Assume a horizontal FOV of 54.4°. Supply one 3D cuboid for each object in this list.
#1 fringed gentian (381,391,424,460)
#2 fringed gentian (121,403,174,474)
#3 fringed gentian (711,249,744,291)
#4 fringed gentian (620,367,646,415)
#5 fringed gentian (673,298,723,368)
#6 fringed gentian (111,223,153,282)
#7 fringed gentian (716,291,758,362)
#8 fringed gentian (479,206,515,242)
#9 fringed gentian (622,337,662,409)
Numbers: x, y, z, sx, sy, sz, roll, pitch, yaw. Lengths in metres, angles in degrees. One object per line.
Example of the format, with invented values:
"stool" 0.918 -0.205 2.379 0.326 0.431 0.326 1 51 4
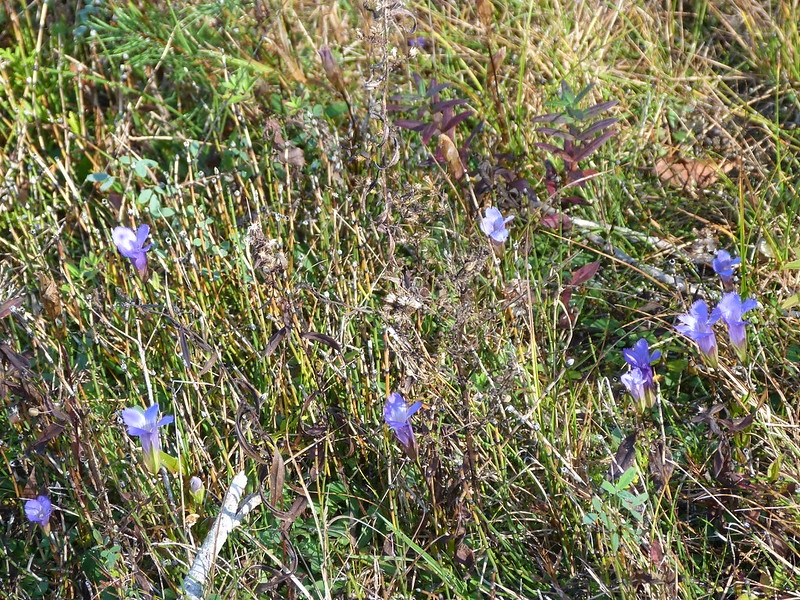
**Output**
"fringed gentian" 0.018 0.395 2.150 0.109 0.076 0.174 -42 115 -61
"fringed gentian" -0.673 0.411 2.109 0.094 0.089 0.150 -12 52 -19
"fringed gentian" 1.104 -0.096 2.610 0.066 0.116 0.082 -20 39 5
"fringed gentian" 0.670 0.262 2.180 0.059 0.084 0.132 -24 99 -37
"fringed gentian" 0.878 0.118 2.221 0.135 0.115 0.219 -46 117 -43
"fringed gentian" -0.784 -0.153 2.270 0.091 0.171 0.152 -10 54 -24
"fringed gentian" 1.020 0.086 2.357 0.128 0.190 0.113 -36 32 -28
"fringed gentian" 0.297 -0.231 2.379 0.099 0.104 0.049 33 17 24
"fringed gentian" 0.719 0.224 2.299 0.107 0.216 0.118 -17 26 0
